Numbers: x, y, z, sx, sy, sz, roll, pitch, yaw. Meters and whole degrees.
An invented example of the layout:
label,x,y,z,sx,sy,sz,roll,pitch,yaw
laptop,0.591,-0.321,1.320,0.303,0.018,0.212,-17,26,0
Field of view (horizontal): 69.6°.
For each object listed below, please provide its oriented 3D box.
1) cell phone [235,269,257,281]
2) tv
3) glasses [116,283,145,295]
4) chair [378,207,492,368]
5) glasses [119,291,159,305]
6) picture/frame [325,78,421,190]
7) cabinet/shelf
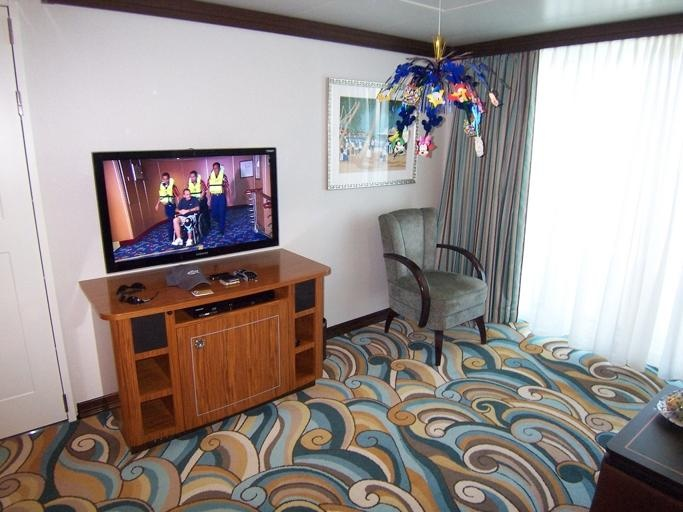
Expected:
label,x,y,z,sx,sy,sz,roll,pitch,yaw
cell phone,-0.707,0.131,3.586,0.083,0.042,0.128,-12,20,-42
tv,-1.210,-0.340,3.638,0.977,0.578,0.020,-12,24,-30
glasses,-1.436,0.206,3.331,0.108,0.036,0.095,3,10,41
chair,0.835,0.219,4.593,0.759,1.199,0.855,-13,21,-35
glasses,-1.357,0.267,3.232,0.124,0.033,0.126,14,16,39
picture/frame,0.308,-1.126,4.555,1.093,0.933,0.031,-11,19,-37
cabinet/shelf,-0.937,0.642,3.783,1.673,1.077,0.791,-12,20,-38
